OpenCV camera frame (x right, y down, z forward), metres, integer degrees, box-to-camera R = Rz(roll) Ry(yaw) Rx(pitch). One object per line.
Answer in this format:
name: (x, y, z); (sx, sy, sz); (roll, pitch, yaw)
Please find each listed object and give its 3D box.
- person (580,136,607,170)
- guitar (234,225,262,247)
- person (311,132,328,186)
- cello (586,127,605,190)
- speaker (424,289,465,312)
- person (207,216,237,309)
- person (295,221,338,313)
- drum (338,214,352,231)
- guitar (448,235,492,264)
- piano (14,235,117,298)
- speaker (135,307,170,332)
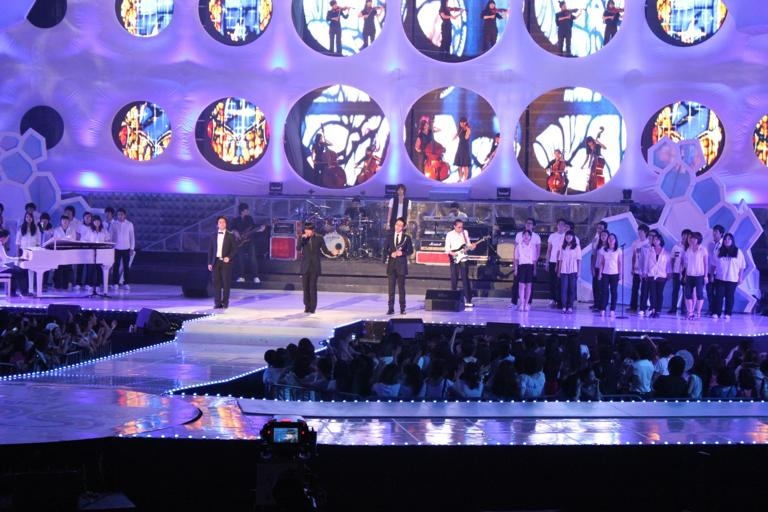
person: (4.923, -2.461, 24.960); (0.453, 0.753, 0.291); (9, 10, 39)
guitar: (-2.787, -0.441, 22.144); (0.471, 0.496, 1.021); (0, -5, 14)
person: (-1.511, -2.402, 25.390); (0.524, 1.100, 0.346); (-3, 7, -15)
cello: (4.986, -2.308, 24.917); (0.466, 1.480, 0.167); (0, -4, 20)
speaker: (1.107, 0.782, 19.391); (0.665, 0.360, 0.399); (2, 6, 17)
person: (-2.907, 0.136, 19.049); (0.470, 1.595, 1.162); (1, -4, -9)
person: (-1.264, 0.227, 18.944); (0.523, 1.596, 0.748); (1, -4, -4)
drum: (-0.808, -0.710, 22.406); (0.248, 0.381, 0.163); (-2, -5, 34)
guitar: (1.679, -0.142, 19.936); (0.475, 0.605, 1.291); (-2, -5, 30)
piano: (-5.862, 0.135, 19.567); (1.510, 0.942, 1.015); (1, 1, -33)
speaker: (-3.942, 1.002, 18.120); (0.419, 0.344, 0.515); (-4, 5, -32)
